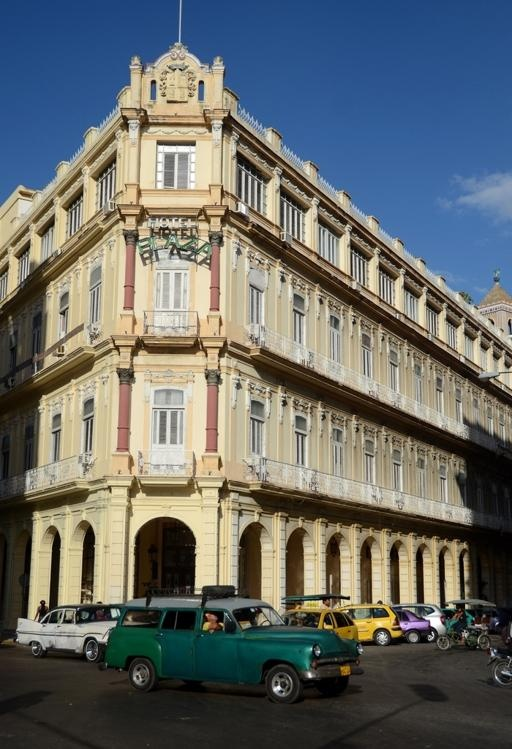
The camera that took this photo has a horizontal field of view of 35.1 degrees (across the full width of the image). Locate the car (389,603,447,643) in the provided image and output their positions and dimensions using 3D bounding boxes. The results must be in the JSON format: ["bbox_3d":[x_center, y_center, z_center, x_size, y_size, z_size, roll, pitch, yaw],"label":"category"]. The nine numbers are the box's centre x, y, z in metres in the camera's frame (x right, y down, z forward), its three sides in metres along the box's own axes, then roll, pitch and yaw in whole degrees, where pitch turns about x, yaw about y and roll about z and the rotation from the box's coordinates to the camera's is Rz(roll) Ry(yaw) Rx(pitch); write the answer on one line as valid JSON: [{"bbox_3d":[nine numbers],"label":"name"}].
[{"bbox_3d":[6.083,9.125,30.189,1.898,0.935,1.066,3,-14,8],"label":"car"}]

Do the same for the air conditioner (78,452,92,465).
[{"bbox_3d":[-5.914,2.969,28.155,0.347,0.622,0.637,7,-12,-34],"label":"air conditioner"}]

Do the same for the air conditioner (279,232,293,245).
[{"bbox_3d":[1.141,-5.310,31.927,0.287,0.520,0.556,-15,-20,33],"label":"air conditioner"}]

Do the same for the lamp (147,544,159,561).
[{"bbox_3d":[-3.860,6.652,30.329,0.483,0.613,0.486,2,-13,-3],"label":"lamp"}]

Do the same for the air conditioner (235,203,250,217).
[{"bbox_3d":[-0.524,-5.868,29.125,0.177,0.465,0.512,-21,-30,29],"label":"air conditioner"}]

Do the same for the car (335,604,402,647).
[{"bbox_3d":[4.119,8.687,28.131,2.951,1.450,1.805,2,-13,6],"label":"car"}]
